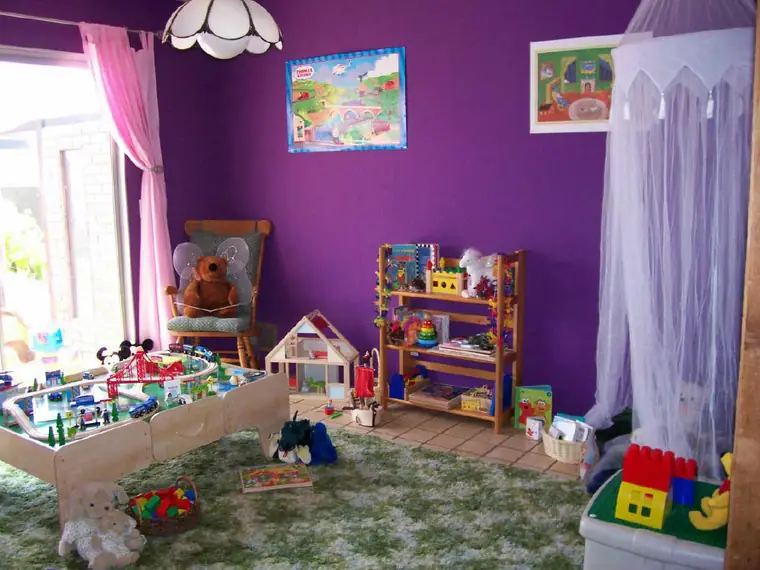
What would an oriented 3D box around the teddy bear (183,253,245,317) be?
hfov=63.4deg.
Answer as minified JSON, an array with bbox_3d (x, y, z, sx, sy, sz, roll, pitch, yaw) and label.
[{"bbox_3d":[-1.365,0.006,5.239,0.546,0.709,0.439,0,-1,-17],"label":"teddy bear"}]

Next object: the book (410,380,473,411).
[{"bbox_3d":[0.433,0.791,4.523,0.384,0.077,0.379,6,14,29],"label":"book"}]

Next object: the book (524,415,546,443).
[{"bbox_3d":[1.005,0.918,4.079,0.110,0.195,0.195,1,-1,-35],"label":"book"}]

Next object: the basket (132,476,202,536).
[{"bbox_3d":[-1.068,1.110,3.143,0.252,0.168,0.314,0,-4,-7],"label":"basket"}]

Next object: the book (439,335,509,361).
[{"bbox_3d":[0.653,0.399,4.283,0.488,0.150,0.279,6,14,30],"label":"book"}]

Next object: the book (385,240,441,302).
[{"bbox_3d":[0.244,-0.113,4.508,0.410,0.403,0.141,3,5,25],"label":"book"}]

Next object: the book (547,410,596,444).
[{"bbox_3d":[1.163,0.854,3.736,0.184,0.070,0.144,7,5,-4],"label":"book"}]

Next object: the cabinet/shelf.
[{"bbox_3d":[0.530,0.355,4.376,1.153,1.401,0.384,4,7,34],"label":"cabinet/shelf"}]

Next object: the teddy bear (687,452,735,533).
[{"bbox_3d":[1.360,0.815,2.454,0.165,0.341,0.144,16,7,30],"label":"teddy bear"}]
